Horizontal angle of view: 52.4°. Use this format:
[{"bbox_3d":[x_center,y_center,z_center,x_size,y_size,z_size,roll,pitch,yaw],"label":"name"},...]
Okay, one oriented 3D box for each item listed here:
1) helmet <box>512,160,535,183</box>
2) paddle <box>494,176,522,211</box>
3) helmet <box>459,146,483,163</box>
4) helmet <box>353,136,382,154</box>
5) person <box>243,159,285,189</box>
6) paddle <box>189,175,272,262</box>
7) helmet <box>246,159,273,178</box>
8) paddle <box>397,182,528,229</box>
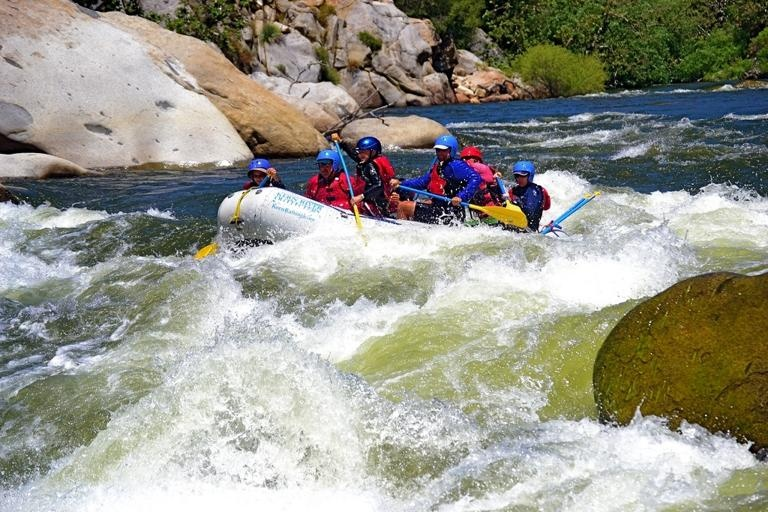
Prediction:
[{"bbox_3d":[2.111,-1.313,11.843,0.286,0.291,0.414,10,26,35],"label":"helmet"},{"bbox_3d":[1.844,-0.929,11.756,0.121,0.222,0.675,37,22,-28],"label":"paddle"},{"bbox_3d":[1.344,-1.640,12.285,0.311,0.310,0.427,-1,5,36],"label":"helmet"},{"bbox_3d":[-0.232,-1.762,12.206,0.357,0.264,0.260,-24,20,-10],"label":"helmet"},{"bbox_3d":[-1.959,-1.304,12.415,0.523,0.710,0.388,-7,7,12],"label":"person"},{"bbox_3d":[-2.367,-0.552,11.973,0.358,0.250,2.530,19,41,26],"label":"paddle"},{"bbox_3d":[-1.984,-1.482,12.539,0.374,0.266,0.538,-5,-15,11],"label":"helmet"},{"bbox_3d":[1.232,-0.760,11.696,2.081,0.324,0.141,20,3,25],"label":"paddle"}]
